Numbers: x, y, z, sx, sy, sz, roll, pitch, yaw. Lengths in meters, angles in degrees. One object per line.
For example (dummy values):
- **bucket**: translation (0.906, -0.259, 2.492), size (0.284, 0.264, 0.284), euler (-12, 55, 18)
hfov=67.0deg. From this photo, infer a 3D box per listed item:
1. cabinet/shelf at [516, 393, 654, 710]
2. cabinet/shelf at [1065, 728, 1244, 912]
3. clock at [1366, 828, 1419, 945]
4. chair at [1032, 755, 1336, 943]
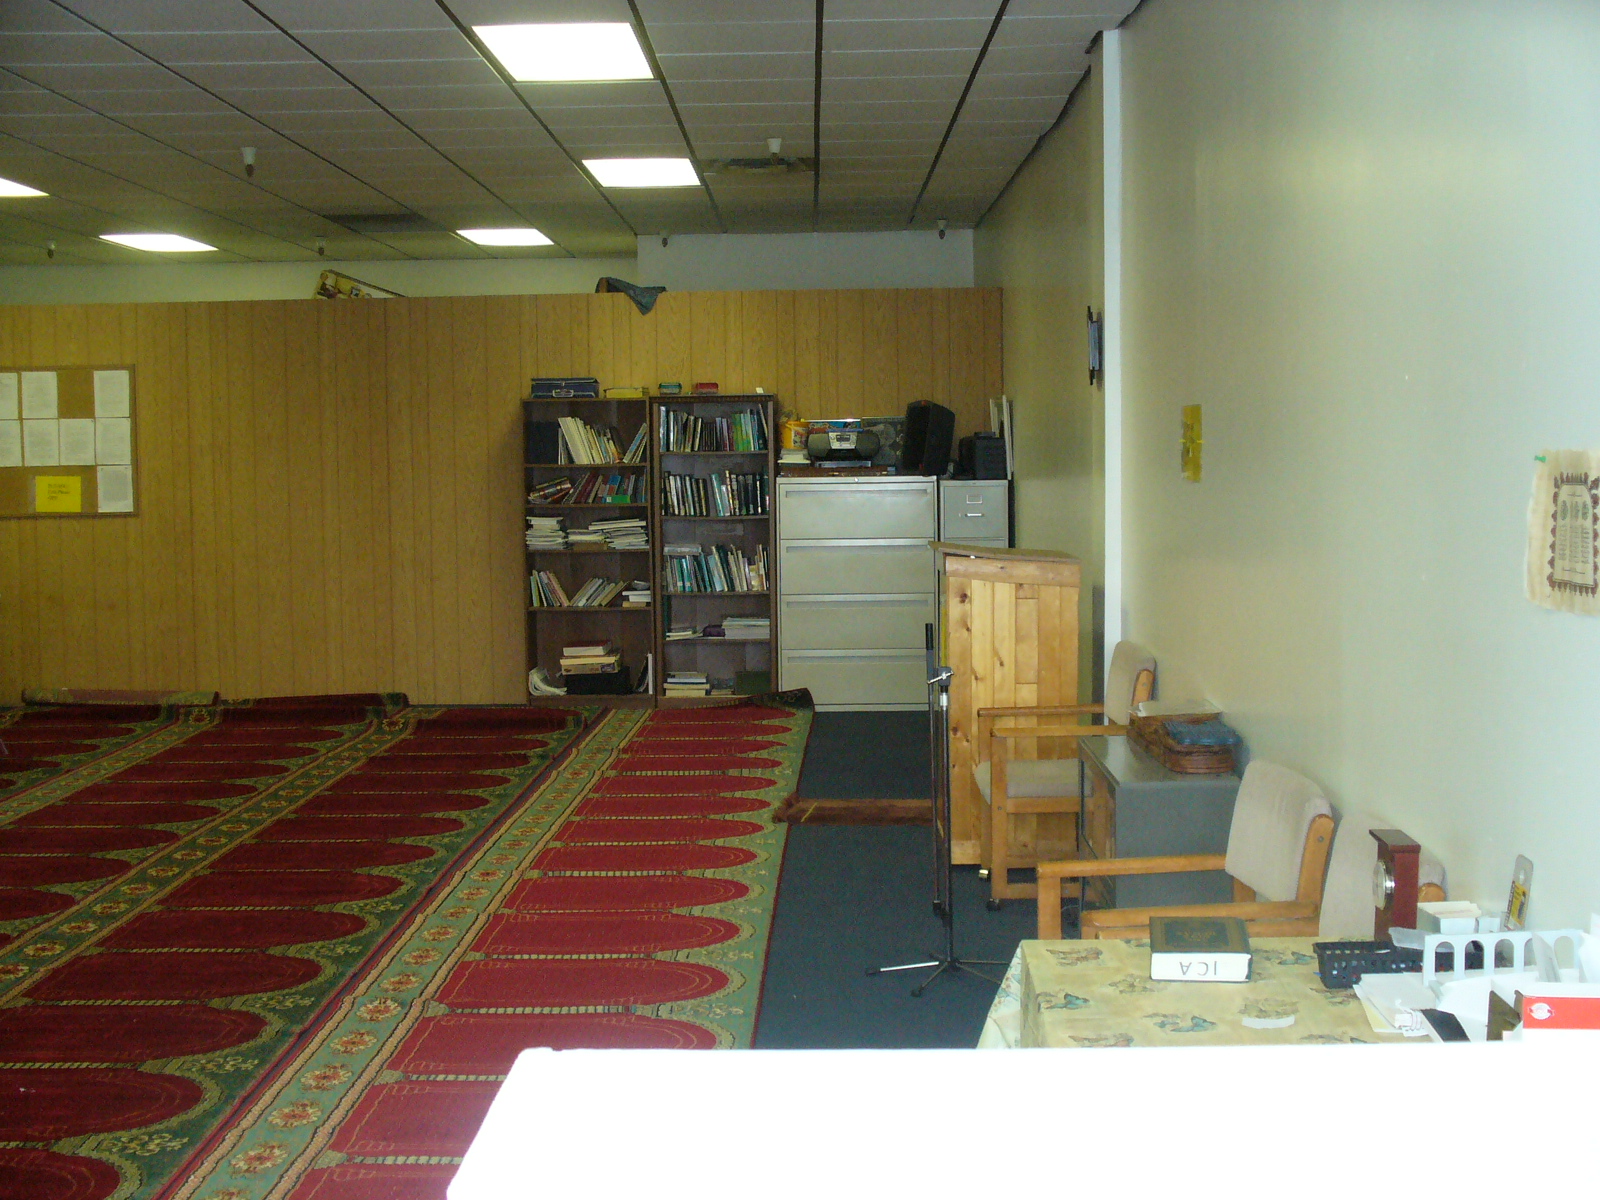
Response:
- **cabinet/shelf**: translation (-1.563, -0.241, 8.655), size (0.960, 2.219, 0.267), euler (-4, 19, -21)
- **cabinet/shelf**: translation (1.105, 0.569, 3.991), size (0.521, 0.736, 0.872), euler (0, -1, 7)
- **clock**: translation (1.133, 0.552, 2.285), size (0.079, 0.222, 0.275), euler (3, 7, 25)
- **chair**: translation (1.016, 0.661, 3.185), size (0.689, 0.658, 0.551), euler (0, 4, 0)
